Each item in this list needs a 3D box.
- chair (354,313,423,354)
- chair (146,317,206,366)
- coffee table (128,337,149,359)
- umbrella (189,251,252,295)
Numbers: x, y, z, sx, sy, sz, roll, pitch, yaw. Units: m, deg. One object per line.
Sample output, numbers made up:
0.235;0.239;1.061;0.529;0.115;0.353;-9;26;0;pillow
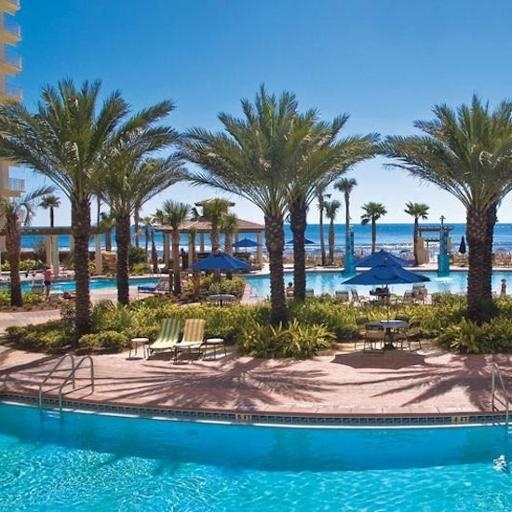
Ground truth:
3.575;2.070;12.994;1.076;0.544;1.103;-1;-1;-21;chair
-2.023;2.127;12.637;1.050;0.635;1.100;0;8;9;chair
-3.149;2.461;13.137;0.560;0.535;0.595;0;-2;-4;coffee table
-1.476;0.778;20.662;2.463;1.979;2.488;1;4;5;umbrella
